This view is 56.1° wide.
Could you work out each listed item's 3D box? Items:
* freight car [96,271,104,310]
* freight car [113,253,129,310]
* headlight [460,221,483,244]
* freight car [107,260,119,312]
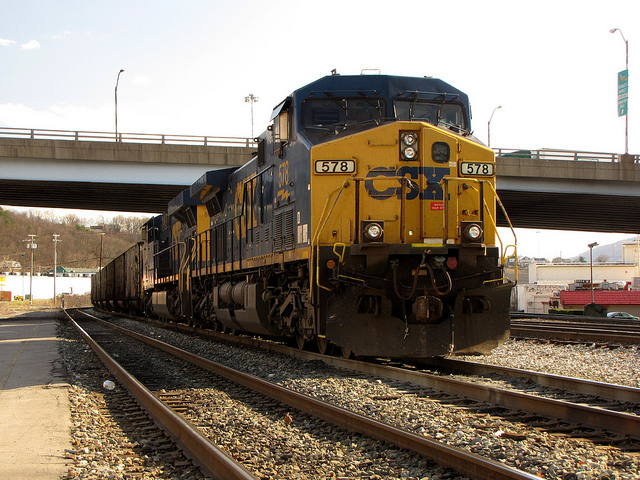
[{"bbox_3d":[-17.930,4.089,48.450,0.388,3.053,5.153,-1,-2,-20],"label":"freight car"},{"bbox_3d":[-12.078,2.528,35.801,0.396,3.222,4.155,-7,0,-24],"label":"freight car"},{"bbox_3d":[2.596,-0.089,10.213,0.385,0.447,0.306,1,-3,-21],"label":"headlight"},{"bbox_3d":[-13.730,2.902,39.822,0.917,2.802,2.849,3,-8,-28],"label":"freight car"}]
